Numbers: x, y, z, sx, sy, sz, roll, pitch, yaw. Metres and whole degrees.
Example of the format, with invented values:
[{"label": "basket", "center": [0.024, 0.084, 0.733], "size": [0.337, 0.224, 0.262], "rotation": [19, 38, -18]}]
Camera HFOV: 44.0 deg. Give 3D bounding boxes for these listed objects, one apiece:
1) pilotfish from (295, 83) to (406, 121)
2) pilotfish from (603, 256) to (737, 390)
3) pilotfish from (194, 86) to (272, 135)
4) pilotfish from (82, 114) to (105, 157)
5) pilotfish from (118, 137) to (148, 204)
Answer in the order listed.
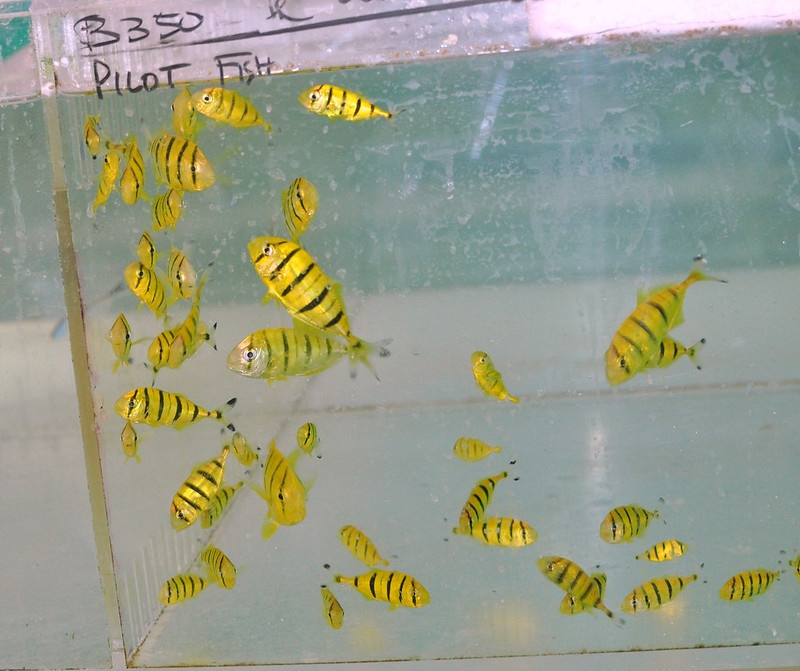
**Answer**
[{"label": "pilotfish", "center": [-0.153, -0.691, 2.939], "size": [0.276, 0.106, 0.092], "rotation": [5, 20, -8]}, {"label": "pilotfish", "center": [0.784, -0.030, 3.030], "size": [0.332, 0.371, 0.127], "rotation": [-11, 24, -40]}, {"label": "pilotfish", "center": [-0.496, -0.680, 2.950], "size": [0.233, 0.117, 0.079], "rotation": [2, 19, -15]}, {"label": "pilotfish", "center": [-0.919, -0.612, 2.980], "size": [0.071, 0.142, 0.035], "rotation": [-3, 0, -4]}, {"label": "pilotfish", "center": [-0.784, -0.494, 2.996], "size": [0.070, 0.199, 0.105], "rotation": [2, -17, -6]}]
